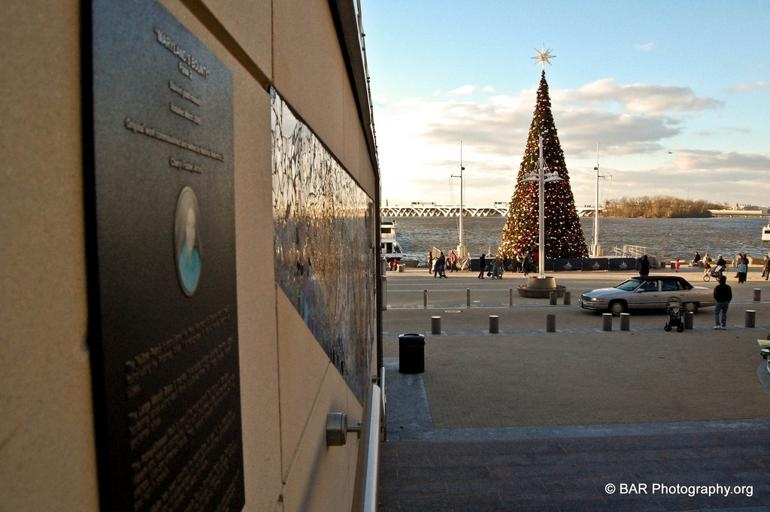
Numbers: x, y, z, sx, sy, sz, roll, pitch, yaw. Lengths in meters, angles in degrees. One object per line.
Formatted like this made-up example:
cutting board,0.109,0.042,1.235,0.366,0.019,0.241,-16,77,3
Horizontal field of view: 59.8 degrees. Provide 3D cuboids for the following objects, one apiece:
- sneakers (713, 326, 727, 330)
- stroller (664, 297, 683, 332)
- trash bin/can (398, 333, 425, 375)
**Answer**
sneakers,9.076,1.954,18.275,0.331,0.153,0.127,2,8,13
stroller,7.800,1.577,18.242,0.471,0.884,0.824,0,2,24
trash bin/can,0.502,1.912,12.947,0.597,0.687,0.622,-1,-1,-5
